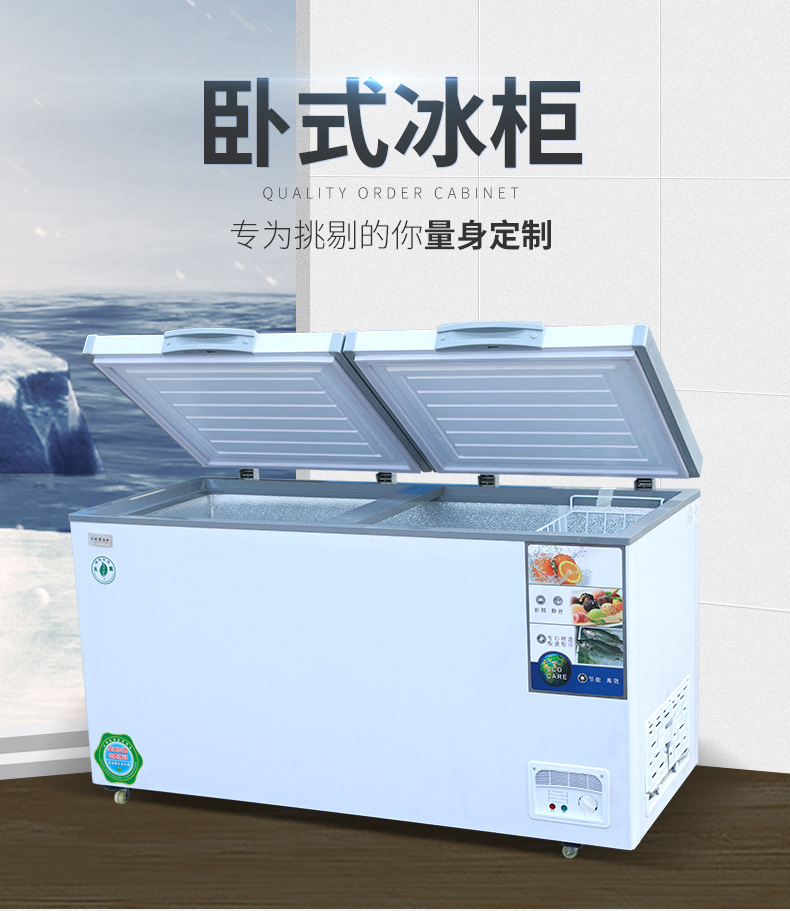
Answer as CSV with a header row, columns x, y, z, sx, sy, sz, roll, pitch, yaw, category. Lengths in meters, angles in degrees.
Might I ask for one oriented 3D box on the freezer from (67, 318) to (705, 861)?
x,y,z,sx,sy,sz,roll,pitch,yaw,category
-0.003,0.373,2.361,1.612,1.116,0.725,0,2,22,freezer
